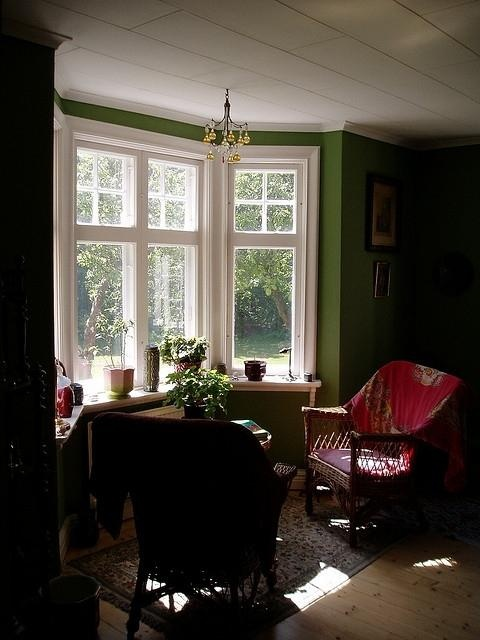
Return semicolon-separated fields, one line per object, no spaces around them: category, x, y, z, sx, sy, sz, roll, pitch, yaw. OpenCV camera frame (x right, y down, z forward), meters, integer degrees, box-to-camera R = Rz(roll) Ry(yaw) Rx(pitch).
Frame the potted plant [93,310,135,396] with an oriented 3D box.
potted plant;-0.786;0.224;3.487;0.270;0.542;0.265;0;1;-36

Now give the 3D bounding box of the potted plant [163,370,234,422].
potted plant;-0.245;0.394;3.175;0.330;0.259;0.345;-7;16;-39

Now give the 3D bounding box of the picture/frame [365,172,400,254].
picture/frame;1.135;-0.833;4.272;0.043;0.550;0.477;4;4;42

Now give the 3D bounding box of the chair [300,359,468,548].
chair;0.915;0.837;3.519;0.962;1.086;1.020;3;0;-44

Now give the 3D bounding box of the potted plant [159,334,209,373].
potted plant;-0.390;0.224;3.607;0.240;0.187;0.252;1;-3;10

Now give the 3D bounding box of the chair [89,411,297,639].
chair;-0.284;0.677;2.449;0.784;1.099;0.859;0;0;17

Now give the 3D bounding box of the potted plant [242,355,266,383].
potted plant;0.111;0.379;3.992;0.162;0.146;0.155;0;1;1

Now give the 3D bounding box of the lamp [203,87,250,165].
lamp;-0.081;-1.187;3.199;0.265;0.452;0.275;-2;8;-28

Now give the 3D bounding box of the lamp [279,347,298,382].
lamp;0.377;0.330;4.029;0.118;0.247;0.222;0;1;-7

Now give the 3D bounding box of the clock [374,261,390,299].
clock;1.151;-0.315;4.303;0.059;0.292;0.275;1;1;35
